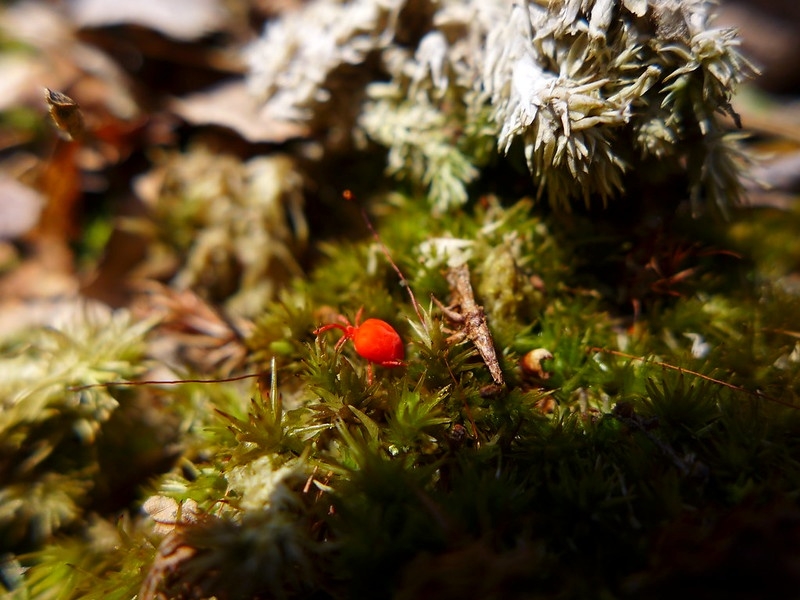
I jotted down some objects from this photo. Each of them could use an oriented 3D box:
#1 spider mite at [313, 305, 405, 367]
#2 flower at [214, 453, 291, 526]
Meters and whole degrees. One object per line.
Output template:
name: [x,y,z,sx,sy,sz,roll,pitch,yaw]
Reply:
spider mite: [-0.097,0.099,2.274,0.212,0.051,0.156,32,89,19]
flower: [-0.393,0.502,2.124,0.169,0.047,0.179,-26,44,24]
